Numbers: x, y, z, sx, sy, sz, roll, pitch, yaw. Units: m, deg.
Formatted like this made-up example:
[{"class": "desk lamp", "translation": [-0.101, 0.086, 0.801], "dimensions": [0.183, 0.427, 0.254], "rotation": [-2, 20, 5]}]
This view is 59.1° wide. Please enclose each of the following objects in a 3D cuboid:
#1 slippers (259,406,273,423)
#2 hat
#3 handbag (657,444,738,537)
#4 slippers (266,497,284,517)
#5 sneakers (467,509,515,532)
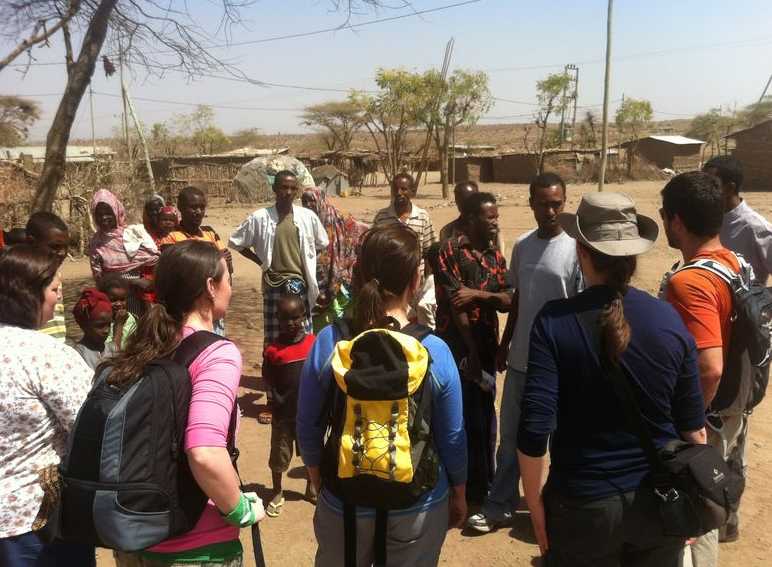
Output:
[{"class": "slippers", "translation": [-1.119, 1.219, 6.318], "dimensions": [0.192, 0.098, 0.268], "rotation": [2, -5, -9]}, {"class": "hat", "translation": [1.037, -0.279, 3.195], "dimensions": [0.418, 0.281, 0.301], "rotation": [3, 9, 13]}, {"class": "handbag", "translation": [1.374, 0.901, 2.996], "dimensions": [0.382, 0.395, 0.172], "rotation": [3, 9, 13]}, {"class": "slippers", "translation": [-0.810, 1.609, 4.965], "dimensions": [0.125, 0.114, 0.106], "rotation": [-1, 9, -14]}, {"class": "sneakers", "translation": [0.729, 1.622, 4.732], "dimensions": [0.311, 0.129, 0.131], "rotation": [5, -4, -18]}]
